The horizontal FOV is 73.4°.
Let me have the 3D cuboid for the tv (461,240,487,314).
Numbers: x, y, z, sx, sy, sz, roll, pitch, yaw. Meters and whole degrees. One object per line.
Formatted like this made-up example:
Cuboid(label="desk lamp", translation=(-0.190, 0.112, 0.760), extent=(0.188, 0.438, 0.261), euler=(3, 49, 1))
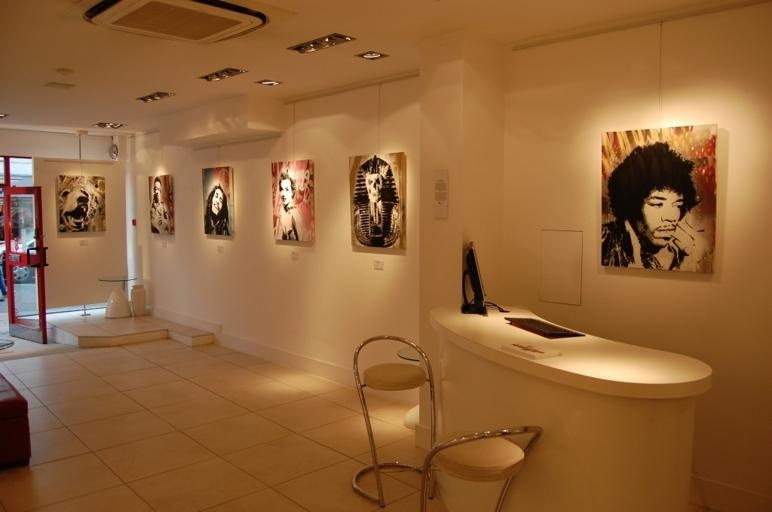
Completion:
Cuboid(label="tv", translation=(0.807, 0.204, 4.862), extent=(0.226, 0.643, 0.632), euler=(-3, 2, 0))
